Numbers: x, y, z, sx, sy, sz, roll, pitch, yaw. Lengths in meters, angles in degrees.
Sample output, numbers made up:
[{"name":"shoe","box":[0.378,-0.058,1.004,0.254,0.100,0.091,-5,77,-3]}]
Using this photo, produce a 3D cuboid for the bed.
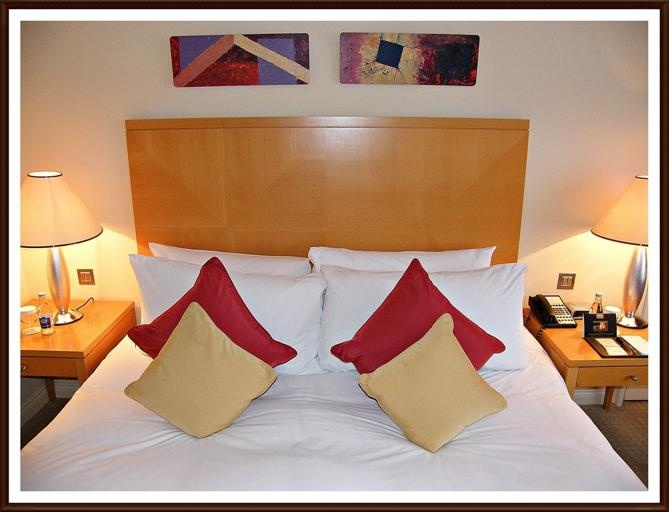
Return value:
[{"name":"bed","box":[-0.058,0.237,2.623,2.348,1.545,1.746,-1,14,-2]}]

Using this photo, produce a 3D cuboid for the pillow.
[{"name":"pillow","box":[0.025,0.400,2.369,1.879,0.782,0.666,0,7,3]}]

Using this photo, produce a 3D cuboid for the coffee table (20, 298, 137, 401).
[{"name":"coffee table","box":[-1.413,0.668,2.931,0.446,0.507,0.655,1,22,-2]}]
